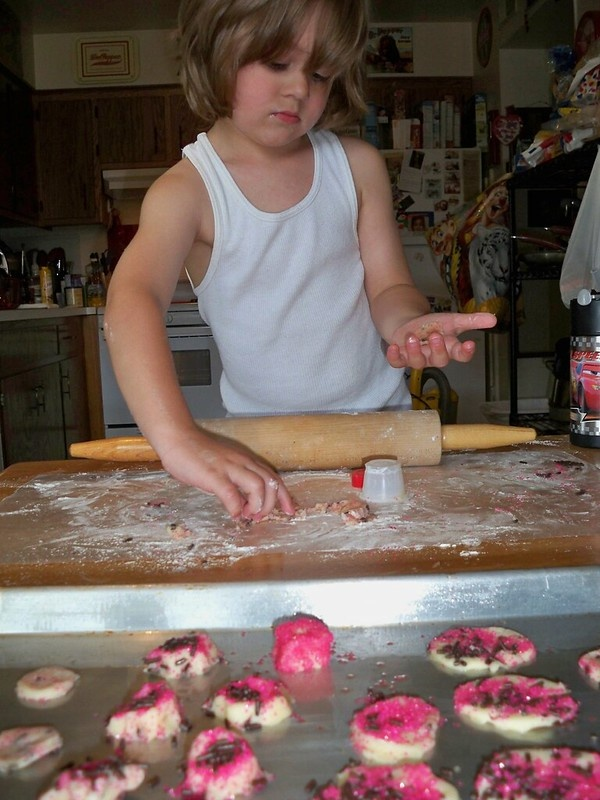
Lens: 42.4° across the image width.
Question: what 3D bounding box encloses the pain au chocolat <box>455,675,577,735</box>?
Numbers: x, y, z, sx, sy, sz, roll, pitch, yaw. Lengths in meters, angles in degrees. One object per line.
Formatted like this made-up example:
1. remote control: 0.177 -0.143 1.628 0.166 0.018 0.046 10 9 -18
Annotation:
1. pain au chocolat: 0.148 0.211 0.542 0.083 0.016 0.056 -3 10 -4

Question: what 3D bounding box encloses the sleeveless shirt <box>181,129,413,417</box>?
1. sleeveless shirt: -0.016 -0.194 1.269 0.424 0.414 0.243 -4 12 -11
